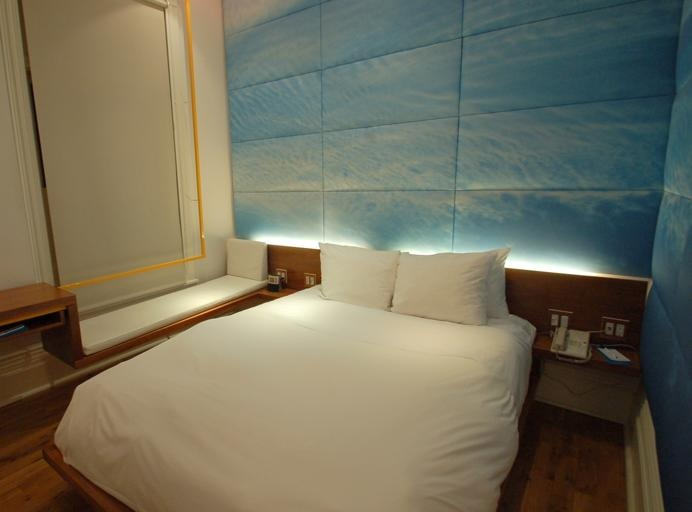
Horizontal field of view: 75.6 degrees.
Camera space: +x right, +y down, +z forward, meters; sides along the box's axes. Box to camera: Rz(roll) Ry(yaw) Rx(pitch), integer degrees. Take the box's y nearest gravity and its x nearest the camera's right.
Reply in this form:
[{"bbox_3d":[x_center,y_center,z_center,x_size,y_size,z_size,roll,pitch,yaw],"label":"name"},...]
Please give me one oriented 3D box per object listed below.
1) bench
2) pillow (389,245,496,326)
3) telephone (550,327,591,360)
[{"bbox_3d":[-1.336,0.442,3.917,0.940,1.322,0.410,8,-73,31],"label":"bench"},{"bbox_3d":[0.707,0.239,3.218,0.506,0.361,0.202,2,-33,32],"label":"pillow"},{"bbox_3d":[1.531,0.582,3.006,0.203,0.218,0.075,9,-46,32],"label":"telephone"}]
